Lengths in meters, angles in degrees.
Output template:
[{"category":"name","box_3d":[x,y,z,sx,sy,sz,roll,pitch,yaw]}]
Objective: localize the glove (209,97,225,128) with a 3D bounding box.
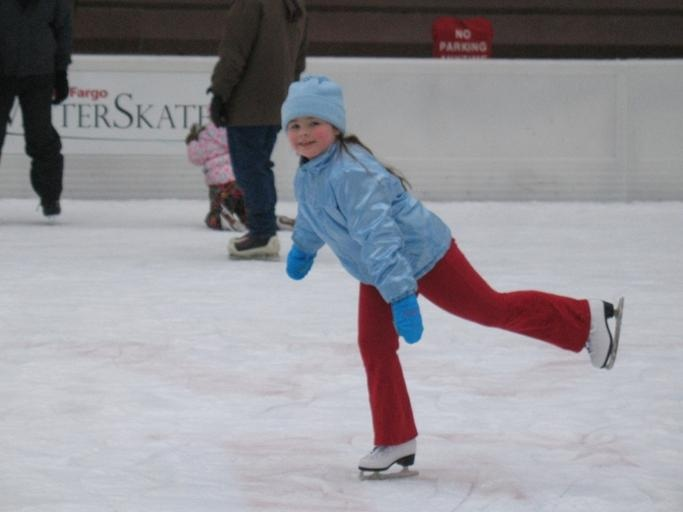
[{"category":"glove","box_3d":[-0.678,-0.790,6.484,0.051,0.136,0.114,4,13,40]}]

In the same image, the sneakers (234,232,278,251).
[{"category":"sneakers","box_3d":[-0.448,-0.082,6.530,0.269,0.100,0.093,-1,-1,8]}]

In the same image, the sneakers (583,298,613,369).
[{"category":"sneakers","box_3d":[0.909,0.277,4.245,0.121,0.238,0.087,-8,5,-7]}]

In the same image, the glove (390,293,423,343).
[{"category":"glove","box_3d":[0.214,0.203,3.832,0.104,0.151,0.044,-11,0,2]}]

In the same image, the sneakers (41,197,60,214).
[{"category":"sneakers","box_3d":[-1.994,-0.342,8.145,0.128,0.116,0.125,-1,2,-20]}]

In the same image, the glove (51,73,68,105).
[{"category":"glove","box_3d":[-1.911,-1.149,8.095,0.153,0.184,0.063,3,21,20]}]

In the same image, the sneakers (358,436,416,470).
[{"category":"sneakers","box_3d":[0.154,0.651,3.872,0.207,0.086,0.077,0,-1,-12]}]

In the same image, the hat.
[{"category":"hat","box_3d":[-0.104,-0.530,4.122,0.218,0.190,0.211,-2,-5,-2]}]

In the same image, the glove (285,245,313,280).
[{"category":"glove","box_3d":[-0.145,0.031,4.296,0.084,0.134,0.103,14,17,21]}]

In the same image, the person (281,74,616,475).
[{"category":"person","box_3d":[0.145,0.038,4.671,1.606,1.626,0.909,-5,-2,-1]}]

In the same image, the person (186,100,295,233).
[{"category":"person","box_3d":[-0.768,-0.515,8.281,0.572,1.230,0.408,-8,-21,-26]}]
